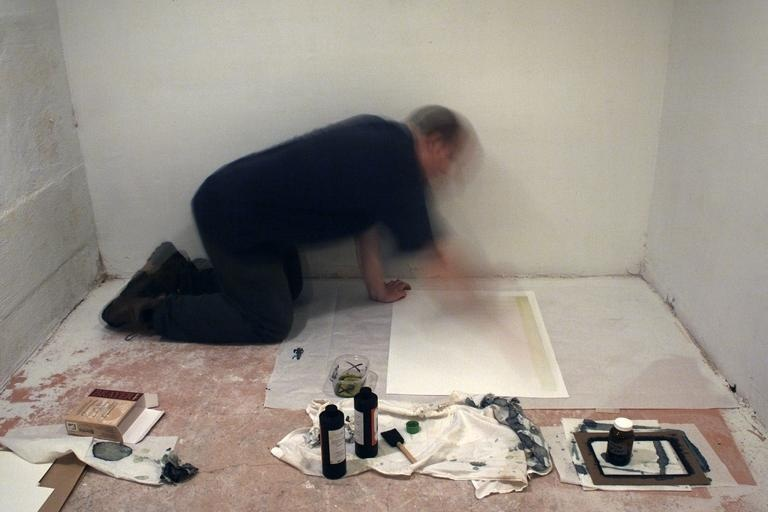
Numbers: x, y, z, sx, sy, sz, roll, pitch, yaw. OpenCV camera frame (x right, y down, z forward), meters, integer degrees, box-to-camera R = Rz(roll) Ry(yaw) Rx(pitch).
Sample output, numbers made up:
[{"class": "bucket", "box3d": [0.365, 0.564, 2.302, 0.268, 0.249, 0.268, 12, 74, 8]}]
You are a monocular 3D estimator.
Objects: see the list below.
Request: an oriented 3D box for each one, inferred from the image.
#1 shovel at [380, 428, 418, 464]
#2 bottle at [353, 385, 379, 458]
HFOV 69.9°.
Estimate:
[{"class": "shovel", "box3d": [0.057, 0.891, 2.634, 0.072, 0.024, 0.238, -14, 28, -21]}, {"class": "bottle", "box3d": [-0.089, 0.766, 2.583, 0.133, 0.343, 0.156, -8, 27, -5]}]
